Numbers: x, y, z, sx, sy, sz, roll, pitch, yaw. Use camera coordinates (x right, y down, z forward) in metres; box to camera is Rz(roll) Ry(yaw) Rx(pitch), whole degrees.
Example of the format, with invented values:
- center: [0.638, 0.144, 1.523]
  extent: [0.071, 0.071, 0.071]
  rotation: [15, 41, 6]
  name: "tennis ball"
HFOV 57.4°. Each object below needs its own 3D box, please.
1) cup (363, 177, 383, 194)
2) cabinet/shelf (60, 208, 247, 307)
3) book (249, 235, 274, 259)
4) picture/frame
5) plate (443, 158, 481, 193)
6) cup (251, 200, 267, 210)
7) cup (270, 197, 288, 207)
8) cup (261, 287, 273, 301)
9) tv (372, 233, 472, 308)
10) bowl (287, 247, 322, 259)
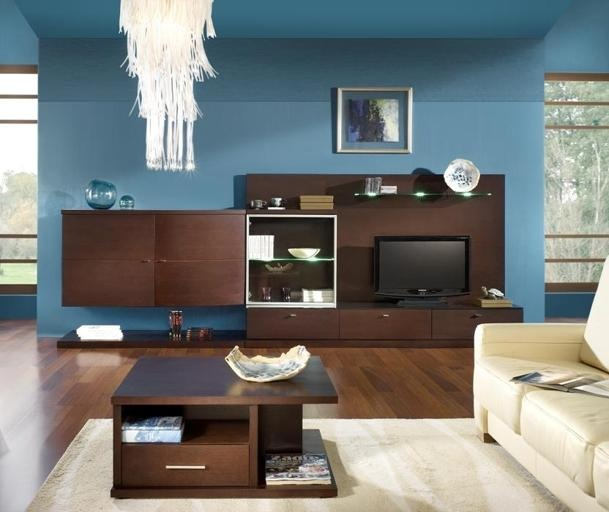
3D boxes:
- center: [0.674, -0.692, 5.418]
  extent: [0.209, 0.179, 0.159]
  rotation: [2, 4, 9]
  name: "cup"
- center: [-1.326, 0.023, 5.397]
  extent: [1.834, 0.909, 0.559]
  rotation: [0, 0, 11]
  name: "cabinet/shelf"
- center: [-0.410, -0.091, 5.253]
  extent: [0.254, 0.208, 0.076]
  rotation: [1, 5, -1]
  name: "book"
- center: [0.665, -1.407, 5.530]
  extent: [0.778, 0.564, 0.056]
  rotation: [0, 0, -1]
  name: "picture/frame"
- center: [1.540, -0.802, 5.441]
  extent: [0.346, 0.321, 0.111]
  rotation: [4, 0, -1]
  name: "plate"
- center: [-0.437, -0.502, 5.300]
  extent: [0.096, 0.081, 0.136]
  rotation: [-1, -3, 2]
  name: "cup"
- center: [-0.246, -0.536, 5.320]
  extent: [0.146, 0.085, 0.088]
  rotation: [1, -2, -4]
  name: "cup"
- center: [-0.366, 0.374, 5.397]
  extent: [0.105, 0.138, 0.271]
  rotation: [-1, 8, -4]
  name: "cup"
- center: [1.128, 0.133, 5.342]
  extent: [0.787, 0.486, 0.201]
  rotation: [0, 0, 0]
  name: "tv"
- center: [0.008, -0.033, 5.452]
  extent: [0.321, 0.111, 0.207]
  rotation: [0, 8, -3]
  name: "bowl"
